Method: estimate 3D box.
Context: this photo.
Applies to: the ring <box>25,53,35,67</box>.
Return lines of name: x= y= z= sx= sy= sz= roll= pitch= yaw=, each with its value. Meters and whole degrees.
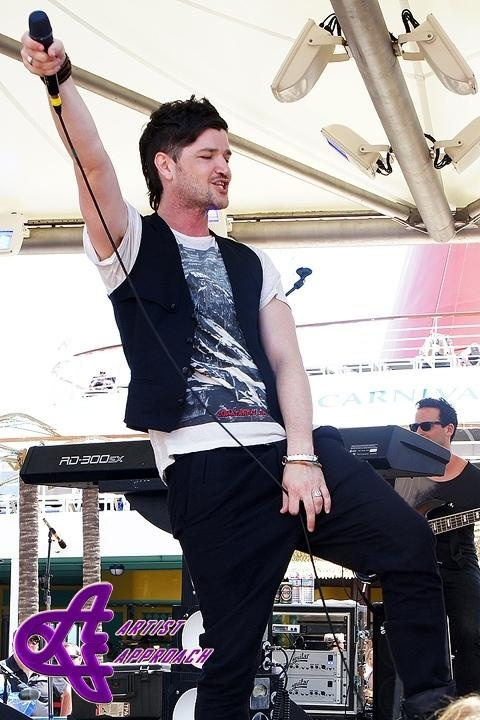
ring: x=-0.412 y=-0.581 z=1.613 sx=0.014 sy=0.017 sz=0.020 roll=12 pitch=2 yaw=18

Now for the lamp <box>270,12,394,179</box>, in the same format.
lamp: x=0.439 y=-1.502 z=4.616 sx=0.731 sy=0.982 sz=0.610 roll=-10 pitch=11 yaw=-32

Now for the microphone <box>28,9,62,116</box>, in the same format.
microphone: x=-0.382 y=-0.601 z=1.618 sx=0.054 sy=0.182 sz=0.179 roll=-2 pitch=-12 yaw=-10

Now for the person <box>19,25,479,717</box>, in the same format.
person: x=-0.040 y=0.073 z=1.789 sx=0.760 sy=1.325 sz=0.499 roll=-1 pitch=-14 yaw=-13

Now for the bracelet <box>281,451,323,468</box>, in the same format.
bracelet: x=0.131 y=0.212 z=1.751 sx=0.082 sy=0.029 sz=0.044 roll=-3 pitch=-12 yaw=-2

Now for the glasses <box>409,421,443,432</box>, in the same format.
glasses: x=1.064 y=0.378 z=4.686 sx=0.135 sy=0.034 sz=0.129 roll=21 pitch=-23 yaw=-28

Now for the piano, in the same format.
piano: x=-0.208 y=0.460 z=3.298 sx=1.296 sy=0.162 sz=0.365 roll=0 pitch=-19 yaw=-4

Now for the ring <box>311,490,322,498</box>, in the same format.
ring: x=0.156 y=0.272 z=1.689 sx=0.025 sy=0.019 sz=0.007 roll=0 pitch=-14 yaw=-19
